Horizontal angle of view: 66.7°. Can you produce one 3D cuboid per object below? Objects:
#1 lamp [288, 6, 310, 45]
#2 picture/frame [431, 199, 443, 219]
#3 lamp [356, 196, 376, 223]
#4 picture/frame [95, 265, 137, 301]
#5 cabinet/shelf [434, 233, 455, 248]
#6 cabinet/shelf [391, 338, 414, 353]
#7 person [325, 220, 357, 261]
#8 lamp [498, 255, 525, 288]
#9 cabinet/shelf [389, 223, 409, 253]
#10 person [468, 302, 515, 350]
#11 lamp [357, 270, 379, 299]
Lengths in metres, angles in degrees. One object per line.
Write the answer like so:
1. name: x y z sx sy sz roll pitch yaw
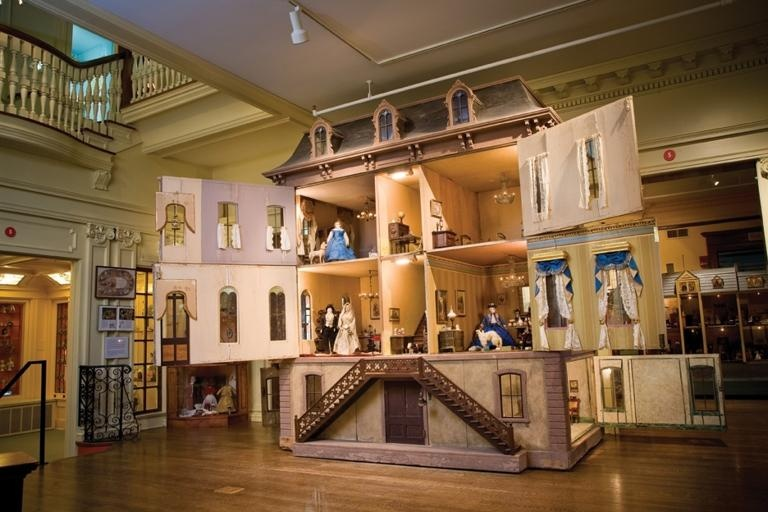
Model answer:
1. lamp: -1.855 -5.052 12.696 0.341 1.039 0.815 -3 -1 -8
2. picture/frame: 1.324 -1.175 14.761 0.067 0.342 0.495 -7 -10 31
3. lamp: -0.480 -1.317 17.205 0.627 0.914 0.610 1 -6 -2
4. picture/frame: -8.105 0.822 17.485 0.139 0.881 1.052 -5 -8 38
5. cabinet/shelf: 1.487 -0.409 14.439 0.566 0.359 0.328 -3 -1 -4
6. cabinet/shelf: 0.478 2.263 14.854 0.369 0.438 0.485 -7 -10 33
7. person: -1.215 -0.339 16.220 0.986 1.289 0.711 2 -25 -9
8. lamp: 3.432 0.431 15.617 0.854 1.107 0.833 -1 -6 2
9. cabinet/shelf: 0.372 -0.458 15.093 0.492 0.721 0.747 -1 -3 32
10. person: 2.701 1.749 14.562 1.134 1.079 0.661 -2 -12 1
11. lamp: -0.448 0.849 17.438 0.909 0.882 0.644 -5 -11 38
